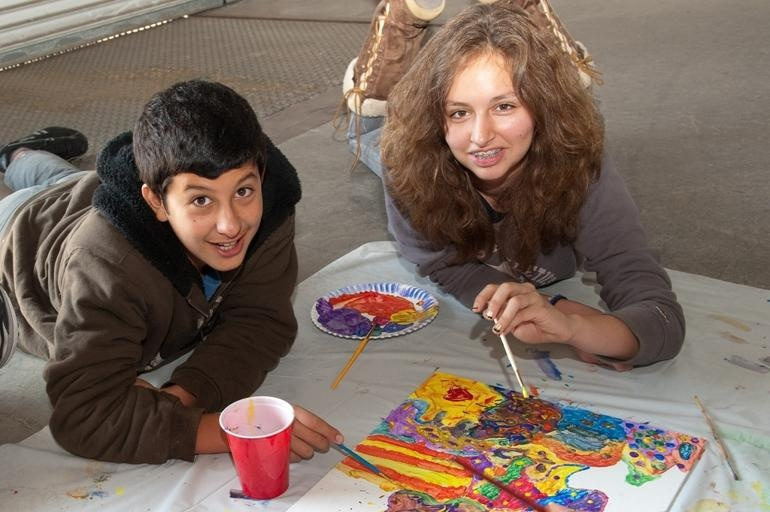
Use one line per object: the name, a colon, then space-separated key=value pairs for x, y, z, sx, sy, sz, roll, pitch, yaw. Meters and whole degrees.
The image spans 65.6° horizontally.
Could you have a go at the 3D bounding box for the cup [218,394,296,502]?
cup: x=-0.286 y=0.442 z=1.402 sx=0.186 sy=0.202 sz=0.178 roll=-6 pitch=37 yaw=5

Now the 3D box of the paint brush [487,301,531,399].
paint brush: x=0.350 y=0.269 z=1.673 sx=0.036 sy=0.024 sz=0.305 roll=-21 pitch=60 yaw=-6

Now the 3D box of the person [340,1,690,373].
person: x=0.327 y=-0.313 z=1.983 sx=0.859 sy=0.660 sz=1.256 roll=-22 pitch=35 yaw=10

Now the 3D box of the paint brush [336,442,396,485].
paint brush: x=-0.055 y=0.499 z=1.458 sx=0.170 sy=0.022 sz=0.026 roll=22 pitch=47 yaw=36

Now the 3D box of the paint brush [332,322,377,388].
paint brush: x=-0.076 y=0.294 z=1.805 sx=0.031 sy=0.024 sz=0.348 roll=-5 pitch=20 yaw=22
